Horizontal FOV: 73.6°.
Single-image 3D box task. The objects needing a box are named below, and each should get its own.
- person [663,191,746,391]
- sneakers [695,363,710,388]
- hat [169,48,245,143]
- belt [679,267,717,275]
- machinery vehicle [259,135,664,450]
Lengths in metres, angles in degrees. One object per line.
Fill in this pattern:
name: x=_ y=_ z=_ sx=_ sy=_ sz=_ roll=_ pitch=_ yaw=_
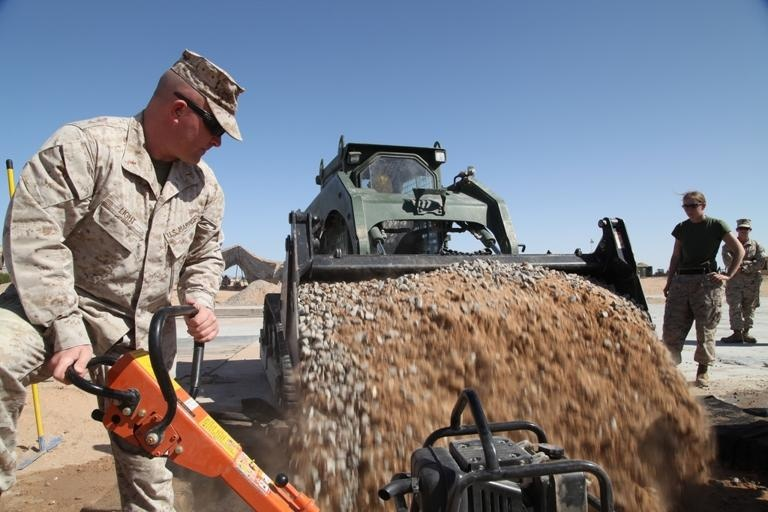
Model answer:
person: x=3.570 y=0.401 z=5.822 sx=0.867 sy=2.232 sz=0.849 roll=1 pitch=6 yaw=8
sneakers: x=3.713 y=1.399 z=5.992 sx=0.096 sy=0.300 sz=0.265 roll=-1 pitch=8 yaw=12
hat: x=-1.084 y=-1.043 z=3.230 sx=0.536 sy=0.297 sz=0.357 roll=34 pitch=6 yaw=1
belt: x=3.533 y=0.175 z=5.819 sx=0.341 sy=0.104 sz=0.087 roll=4 pitch=7 yaw=34
machinery vehicle: x=0.190 y=-0.006 z=7.023 sx=3.785 sy=3.083 sz=6.218 roll=0 pitch=0 yaw=-20
